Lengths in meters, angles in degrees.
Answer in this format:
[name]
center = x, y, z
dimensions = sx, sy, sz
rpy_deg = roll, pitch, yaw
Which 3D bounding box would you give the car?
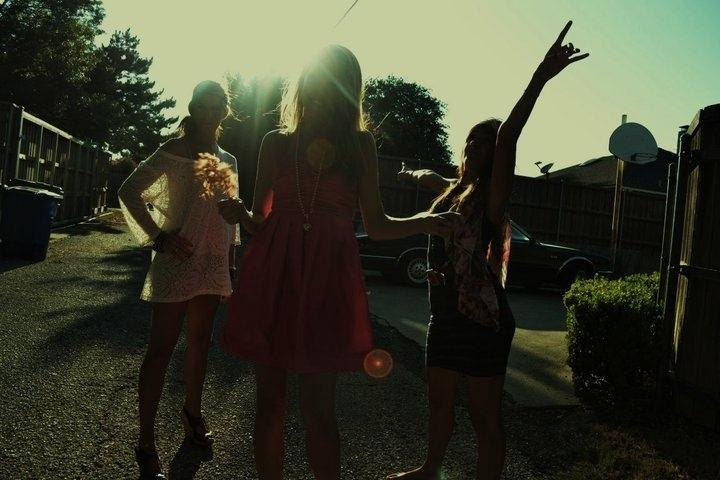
[car]
center = 2.688, 0.526, 12.268
dimensions = 4.701, 1.675, 2.274
rpy_deg = 1, -2, -14

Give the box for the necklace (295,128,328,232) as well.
[necklace]
center = -0.283, -0.338, 2.930
dimensions = 0.126, 0.550, 0.036
rpy_deg = 2, -3, 5

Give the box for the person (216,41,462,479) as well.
[person]
center = -0.296, 0.119, 2.946
dimensions = 0.974, 2.393, 0.487
rpy_deg = 4, 7, 6

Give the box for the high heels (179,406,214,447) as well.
[high heels]
center = -1.253, 1.400, 3.977
dimensions = 0.135, 0.168, 0.376
rpy_deg = 9, 1, -43
